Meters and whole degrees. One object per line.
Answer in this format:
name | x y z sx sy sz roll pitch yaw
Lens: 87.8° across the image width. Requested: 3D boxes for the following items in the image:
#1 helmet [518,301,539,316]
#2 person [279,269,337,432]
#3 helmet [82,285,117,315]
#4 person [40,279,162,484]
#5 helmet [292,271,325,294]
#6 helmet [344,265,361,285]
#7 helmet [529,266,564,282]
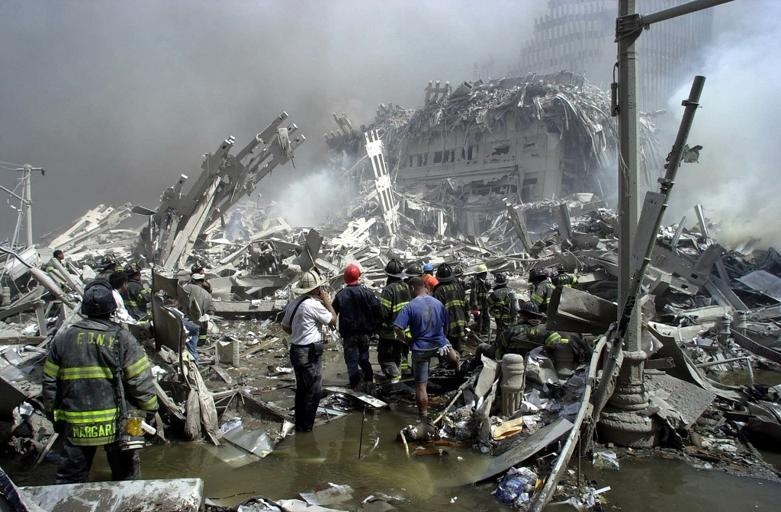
helmet | 2.414 0.867 6.956 0.426 0.193 0.567 9 -9 6
person | -1.196 1.377 6.013 0.775 2.349 0.496 0 6 -9
helmet | -2.975 0.445 4.168 0.284 0.325 0.294 2 -27 -18
person | -2.885 1.271 4.010 0.978 1.959 0.484 1 6 4
helmet | -1.165 0.351 5.968 0.343 0.161 0.400 -1 19 24
helmet | -0.647 0.259 7.054 0.312 0.319 0.286 6 -34 1
helmet | 3.980 0.423 10.215 0.711 0.343 0.461 0 -6 35
